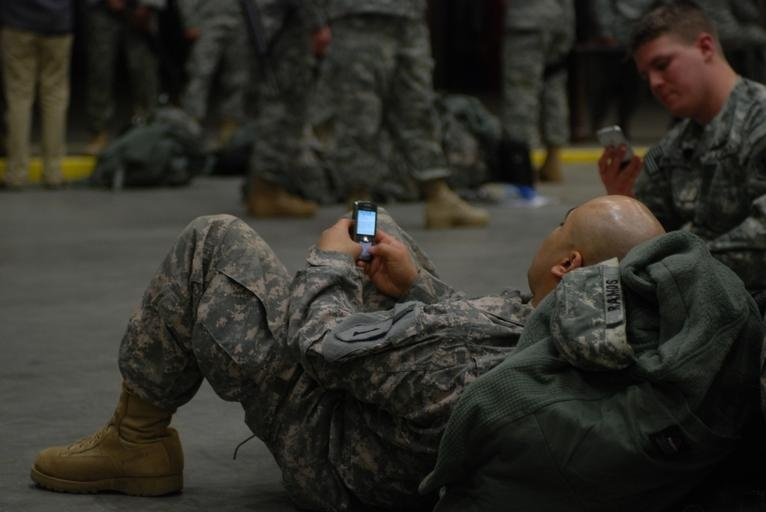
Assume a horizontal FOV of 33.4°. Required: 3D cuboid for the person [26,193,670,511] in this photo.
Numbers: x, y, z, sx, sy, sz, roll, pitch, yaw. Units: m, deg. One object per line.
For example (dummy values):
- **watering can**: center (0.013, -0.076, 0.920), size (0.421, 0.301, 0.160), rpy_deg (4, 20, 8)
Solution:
- **person**: center (-0.072, 0.353, 4.450), size (1.837, 1.134, 0.971), rpy_deg (6, -5, 26)
